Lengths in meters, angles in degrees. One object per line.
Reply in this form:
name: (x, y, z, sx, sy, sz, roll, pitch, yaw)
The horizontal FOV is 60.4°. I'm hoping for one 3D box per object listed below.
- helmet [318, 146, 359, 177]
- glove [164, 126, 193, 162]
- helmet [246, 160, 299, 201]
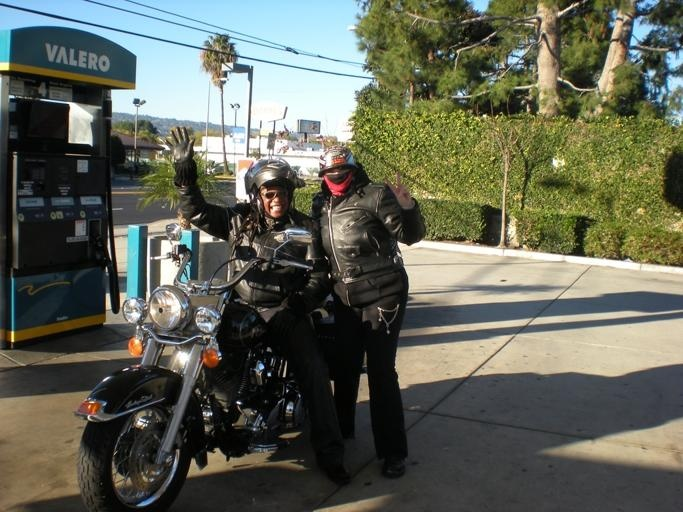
helmet: (-0.035, -0.782, 4.694, 0.188, 0.231, 0.267, -15, -14, 2)
glove: (-1.222, -0.850, 4.441, 0.188, 0.259, 0.281, -4, 10, -19)
helmet: (-0.528, -0.598, 4.467, 0.266, 0.312, 0.355, -4, 12, -29)
